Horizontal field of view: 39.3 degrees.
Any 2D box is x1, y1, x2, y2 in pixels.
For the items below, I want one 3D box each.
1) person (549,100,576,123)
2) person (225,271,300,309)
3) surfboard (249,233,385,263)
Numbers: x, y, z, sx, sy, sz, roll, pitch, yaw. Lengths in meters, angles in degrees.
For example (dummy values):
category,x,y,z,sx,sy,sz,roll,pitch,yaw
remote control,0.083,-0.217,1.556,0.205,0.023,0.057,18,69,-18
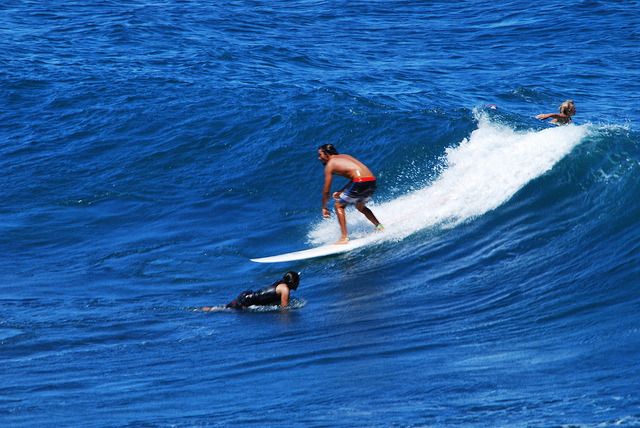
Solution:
category,x,y,z,sx,sy,sz,roll,pitch,yaw
person,6.000,-2.475,21.848,0.419,0.847,0.575,13,50,11
person,-1.410,1.684,18.317,2.151,0.698,0.655,-7,5,0
surfboard,0.019,0.794,20.069,2.632,0.161,0.328,-8,23,7
